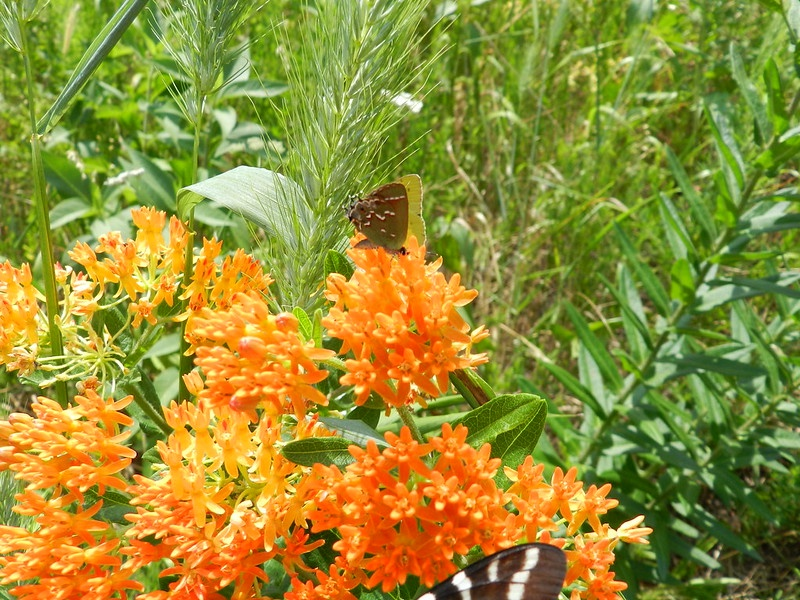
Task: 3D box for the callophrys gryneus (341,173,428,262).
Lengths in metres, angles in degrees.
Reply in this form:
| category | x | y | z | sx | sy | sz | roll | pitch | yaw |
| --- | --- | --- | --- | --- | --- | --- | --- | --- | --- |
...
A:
| category | x | y | z | sx | sy | sz | roll | pitch | yaw |
| --- | --- | --- | --- | --- | --- | --- | --- | --- | --- |
| callophrys gryneus | -0.044 | -0.219 | 2.222 | 0.176 | 0.242 | 0.199 | 11 | 93 | 11 |

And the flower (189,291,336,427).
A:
| category | x | y | z | sx | sy | sz | roll | pitch | yaw |
| --- | --- | --- | --- | --- | --- | --- | --- | --- | --- |
| flower | -0.332 | 0.171 | 1.952 | 0.289 | 0.149 | 0.312 | 12 | 57 | 11 |

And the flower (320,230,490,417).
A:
| category | x | y | z | sx | sy | sz | roll | pitch | yaw |
| --- | --- | --- | --- | --- | --- | --- | --- | --- | --- |
| flower | -0.001 | 0.064 | 1.984 | 0.390 | 0.177 | 0.455 | 20 | 77 | 3 |
